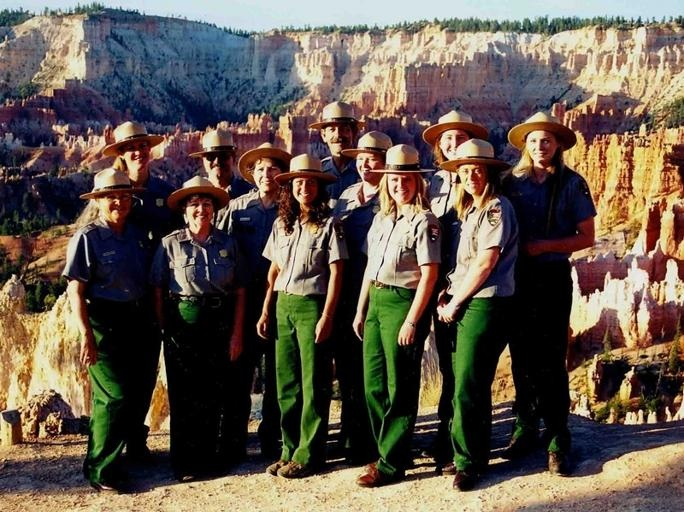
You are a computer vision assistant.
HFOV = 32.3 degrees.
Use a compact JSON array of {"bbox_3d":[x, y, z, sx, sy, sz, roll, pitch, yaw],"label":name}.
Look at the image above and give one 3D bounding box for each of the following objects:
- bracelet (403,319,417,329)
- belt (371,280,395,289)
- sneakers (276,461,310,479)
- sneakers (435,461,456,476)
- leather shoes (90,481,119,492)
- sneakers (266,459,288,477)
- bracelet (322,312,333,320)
[{"bbox_3d":[1.049,1.050,18.267,0.125,0.131,0.031,16,25,30],"label":"bracelet"},{"bbox_3d":[0.634,0.442,18.489,0.402,0.138,0.062,0,6,32],"label":"belt"},{"bbox_3d":[-0.764,3.429,18.938,0.396,0.202,0.241,6,0,0],"label":"sneakers"},{"bbox_3d":[1.628,3.357,18.600,0.237,0.246,0.185,-9,7,-26],"label":"sneakers"},{"bbox_3d":[-3.776,3.682,18.789,0.392,0.178,0.157,-2,-3,7],"label":"leather shoes"},{"bbox_3d":[-1.052,3.406,18.985,0.385,0.187,0.168,4,7,-43],"label":"sneakers"},{"bbox_3d":[-0.251,0.932,18.751,0.197,0.152,0.094,-4,6,-1],"label":"bracelet"}]
